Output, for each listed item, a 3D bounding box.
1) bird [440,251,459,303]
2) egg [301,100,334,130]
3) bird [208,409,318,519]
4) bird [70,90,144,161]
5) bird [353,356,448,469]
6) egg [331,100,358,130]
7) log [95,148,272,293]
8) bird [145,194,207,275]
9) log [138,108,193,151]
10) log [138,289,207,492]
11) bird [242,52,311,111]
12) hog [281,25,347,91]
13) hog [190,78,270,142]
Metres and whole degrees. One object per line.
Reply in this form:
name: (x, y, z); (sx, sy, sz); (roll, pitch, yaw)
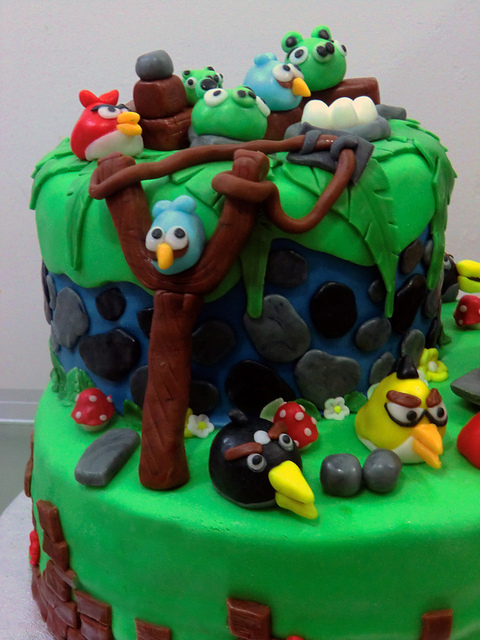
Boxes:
bird: (0.755, -0.147, 2.478); (0.056, 0.195, 0.180); (5, 18, 17)
egg: (0.202, -0.531, 1.791); (0.082, 0.073, 0.091); (1, 16, 5)
bird: (0.049, 0.306, 1.473); (0.173, 0.192, 0.242); (-10, 19, -27)
bird: (-0.326, -0.499, 1.758); (0.169, 0.164, 0.219); (-24, 29, -37)
bird: (0.368, 0.214, 1.640); (0.220, 0.219, 0.272); (-13, 26, -16)
egg: (0.269, -0.528, 1.780); (0.062, 0.072, 0.042); (-11, 21, -29)
log: (-0.110, -0.198, 1.536); (0.455, 0.286, 0.118); (6, 13, 28)
bird: (-0.145, -0.168, 1.480); (0.183, 0.154, 0.119); (-5, 41, -9)
log: (-0.198, -0.507, 1.844); (0.126, 0.064, 0.125); (12, 20, 40)
log: (-0.158, 0.155, 1.534); (0.108, 0.440, 0.156); (5, 20, 16)
bird: (0.093, -0.664, 1.923); (0.194, 0.147, 0.163); (-3, 26, 0)
hog: (0.225, -0.787, 2.083); (0.189, 0.162, 0.155); (3, 50, 28)
hog: (-0.024, -0.512, 1.726); (0.193, 0.132, 0.097); (-1, 18, -3)
